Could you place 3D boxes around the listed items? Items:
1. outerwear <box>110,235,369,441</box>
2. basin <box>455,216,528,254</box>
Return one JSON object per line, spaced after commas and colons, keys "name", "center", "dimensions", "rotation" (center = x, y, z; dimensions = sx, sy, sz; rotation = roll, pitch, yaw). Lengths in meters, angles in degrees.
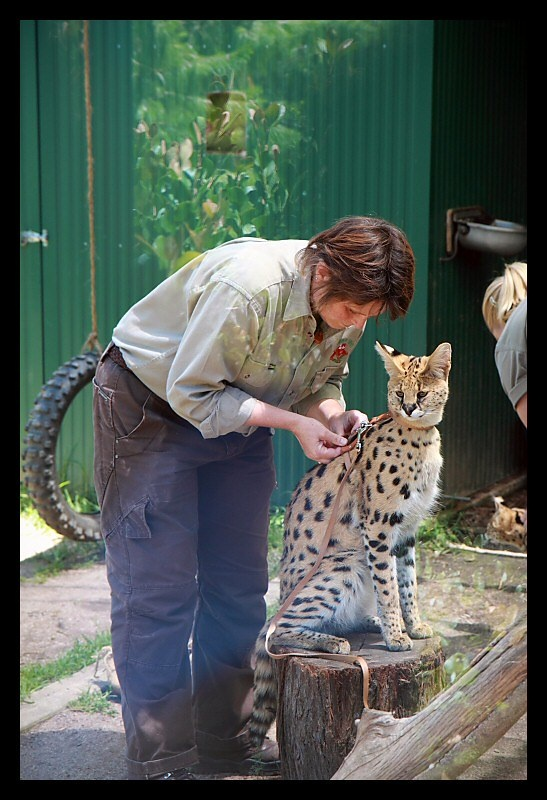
{"name": "outerwear", "center": [-0.064, -0.177, 2.518], "dimensions": [0.649, 0.529, 0.422], "rotation": [-2, 3, -27]}
{"name": "basin", "center": [0.662, -0.491, 2.717], "dimensions": [0.151, 0.056, 0.120], "rotation": [8, 11, 42]}
